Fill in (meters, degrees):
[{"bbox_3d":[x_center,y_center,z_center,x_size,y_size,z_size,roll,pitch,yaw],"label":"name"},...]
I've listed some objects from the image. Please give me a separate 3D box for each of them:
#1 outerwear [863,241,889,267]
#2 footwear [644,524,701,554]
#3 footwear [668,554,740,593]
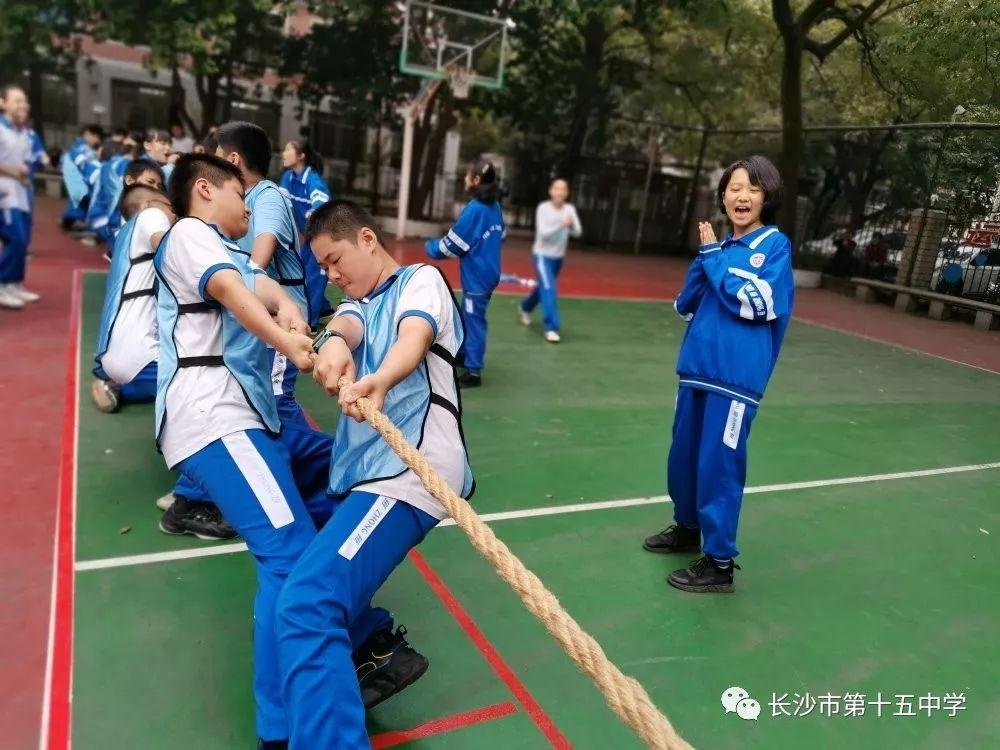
[{"bbox_3d":[6.051,-1.946,13.300,0.308,0.584,0.395,-3,7,-14],"label":"outerwear"},{"bbox_3d":[0.967,0.933,4.705,0.347,0.237,0.143,3,2,2],"label":"footwear"},{"bbox_3d":[1.055,1.034,4.358,0.373,0.201,0.160,3,2,2],"label":"footwear"}]
